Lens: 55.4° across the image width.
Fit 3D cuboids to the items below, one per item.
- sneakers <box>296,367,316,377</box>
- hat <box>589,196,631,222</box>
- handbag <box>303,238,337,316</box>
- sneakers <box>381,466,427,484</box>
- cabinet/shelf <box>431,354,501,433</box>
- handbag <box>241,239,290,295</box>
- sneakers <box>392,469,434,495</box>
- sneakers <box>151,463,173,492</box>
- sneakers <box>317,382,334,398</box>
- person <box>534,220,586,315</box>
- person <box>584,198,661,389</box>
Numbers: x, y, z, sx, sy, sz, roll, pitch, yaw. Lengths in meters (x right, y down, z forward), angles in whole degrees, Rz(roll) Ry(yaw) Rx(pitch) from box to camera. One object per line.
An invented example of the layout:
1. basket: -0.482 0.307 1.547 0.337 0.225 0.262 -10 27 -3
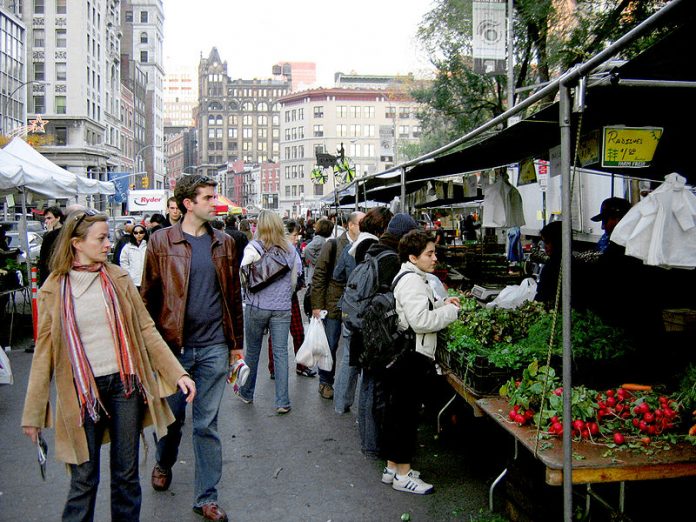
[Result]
1. sneakers: -0.599 1.585 9.538 0.287 0.149 0.108 14 10 -3
2. hat: 2.841 -0.546 7.232 0.383 0.230 0.273 -3 2 30
3. handbag: -0.288 0.202 8.219 0.254 0.806 0.573 7 2 20
4. sneakers: 0.483 1.910 5.937 0.356 0.167 0.141 -3 0 10
5. cabinet/shelf: 1.107 1.241 6.177 0.641 0.409 0.980 0 5 -17
6. handbag: -0.941 0.079 7.674 0.436 0.426 0.197 -31 -14 -18
7. sneakers: 0.567 1.921 5.806 0.373 0.185 0.152 1 -2 10
8. sneakers: -1.637 1.910 5.858 0.124 0.243 0.102 -1 -3 -24
9. sneakers: -0.280 1.634 8.428 0.210 0.220 0.113 0 4 -6
10. person: 2.282 0.014 7.143 0.479 0.855 1.245 1 6 19
11. person: 2.678 0.137 6.451 0.625 1.482 1.869 1 6 15
